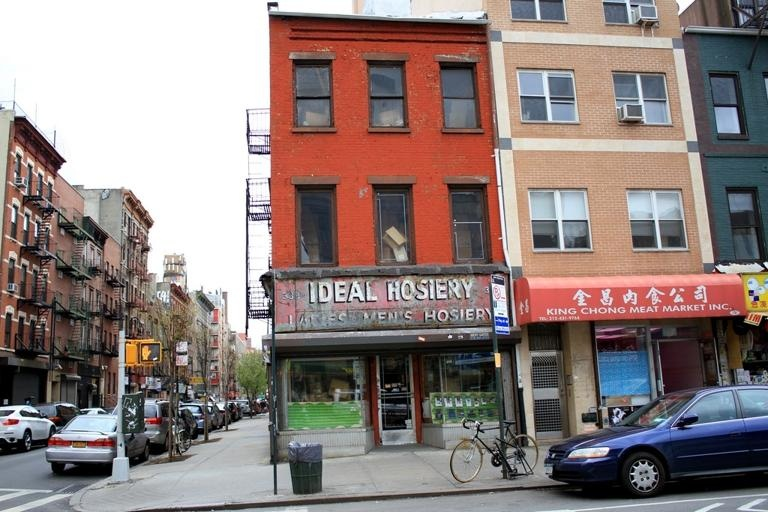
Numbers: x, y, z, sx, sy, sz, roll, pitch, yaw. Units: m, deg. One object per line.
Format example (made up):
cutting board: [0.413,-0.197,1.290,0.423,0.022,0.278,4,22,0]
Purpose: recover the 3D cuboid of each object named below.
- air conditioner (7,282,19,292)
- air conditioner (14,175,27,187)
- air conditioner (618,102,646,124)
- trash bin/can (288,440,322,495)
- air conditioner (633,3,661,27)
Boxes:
air conditioner: [-24.521,2.190,50.228,0.448,0.746,0.832,-5,-9,19]
air conditioner: [-24.974,-5.080,52.404,0.690,0.626,0.690,0,-1,22]
air conditioner: [8.839,-5.050,27.251,1.193,0.836,0.635,1,-8,-5]
trash bin/can: [-2.011,5.764,20.320,1.341,1.646,1.160,1,-19,-9]
air conditioner: [9.651,-8.844,27.840,0.932,0.796,0.503,1,-5,2]
